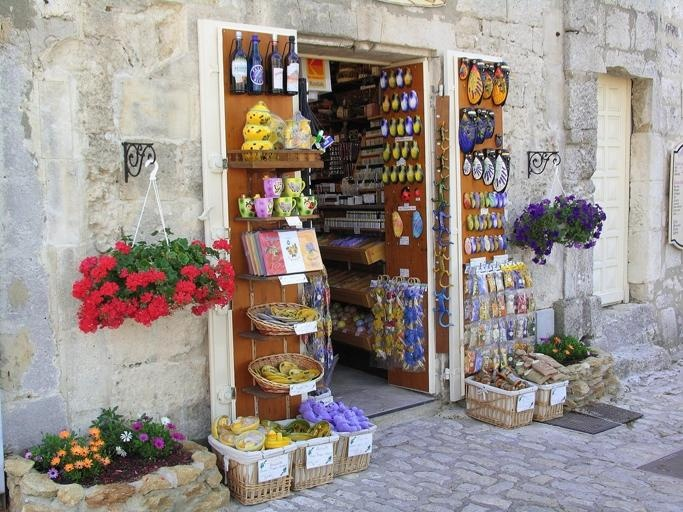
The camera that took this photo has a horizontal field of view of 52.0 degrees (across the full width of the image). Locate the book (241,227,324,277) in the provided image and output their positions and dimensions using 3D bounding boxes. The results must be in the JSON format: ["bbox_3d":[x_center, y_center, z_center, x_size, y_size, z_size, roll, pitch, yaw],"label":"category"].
[{"bbox_3d":[-0.422,-0.031,5.048,0.510,0.349,0.117,-7,-1,-34],"label":"book"}]

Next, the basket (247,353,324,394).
[{"bbox_3d":[-0.428,0.841,5.102,0.312,0.101,0.322,-1,13,-22],"label":"basket"}]

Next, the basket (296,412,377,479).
[{"bbox_3d":[0.031,1.413,4.862,0.571,0.441,0.328,2,-8,-29],"label":"basket"}]

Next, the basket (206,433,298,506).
[{"bbox_3d":[-0.551,1.444,4.686,0.381,0.308,0.469,-2,0,-35],"label":"basket"}]

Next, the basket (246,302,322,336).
[{"bbox_3d":[-0.427,0.467,5.115,0.579,0.178,0.471,-4,10,-39],"label":"basket"}]

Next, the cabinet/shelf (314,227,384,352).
[{"bbox_3d":[0.025,0.095,7.030,0.673,0.636,0.358,14,26,32],"label":"cabinet/shelf"}]

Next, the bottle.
[{"bbox_3d":[-0.581,-1.393,5.068,0.502,0.395,0.116,-4,5,-41],"label":"bottle"}]

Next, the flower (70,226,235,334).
[{"bbox_3d":[-1.243,0.164,4.604,0.655,0.548,1.075,19,19,38],"label":"flower"}]

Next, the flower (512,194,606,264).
[{"bbox_3d":[1.971,-0.271,6.641,0.700,0.506,0.709,0,5,-5],"label":"flower"}]

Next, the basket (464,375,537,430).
[{"bbox_3d":[1.339,1.232,5.973,0.531,0.317,0.419,7,5,43],"label":"basket"}]

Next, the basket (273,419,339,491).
[{"bbox_3d":[-0.219,1.423,4.923,0.304,0.269,0.357,0,-1,-29],"label":"basket"}]
